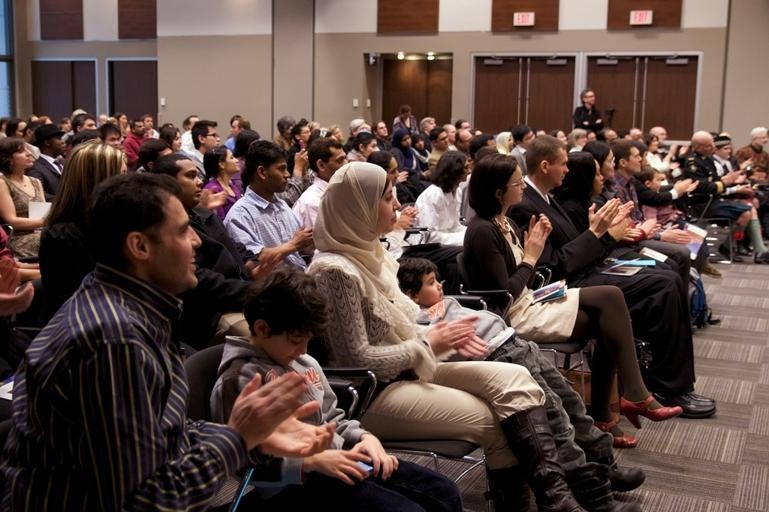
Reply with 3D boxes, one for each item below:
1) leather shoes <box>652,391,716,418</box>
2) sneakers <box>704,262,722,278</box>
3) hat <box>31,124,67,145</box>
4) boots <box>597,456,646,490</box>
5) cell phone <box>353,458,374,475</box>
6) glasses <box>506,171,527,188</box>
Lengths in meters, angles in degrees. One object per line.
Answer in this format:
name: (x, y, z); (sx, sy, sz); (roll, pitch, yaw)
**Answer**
leather shoes: (2.124, 1.044, 3.895); (0.392, 0.185, 0.196); (0, 13, 19)
sneakers: (4.545, 0.216, 7.544); (0.131, 0.158, 0.359); (-12, 14, -29)
hat: (-3.906, -1.376, 6.271); (0.329, 0.131, 0.286); (-19, 1, 5)
boots: (1.196, 1.100, 2.806); (0.245, 0.185, 0.084); (-4, 25, 23)
cell phone: (-0.067, 0.721, 1.854); (0.062, 0.016, 0.064); (22, 5, 9)
glasses: (0.837, -0.472, 3.462); (0.119, 0.038, 0.121); (-2, 12, 18)
